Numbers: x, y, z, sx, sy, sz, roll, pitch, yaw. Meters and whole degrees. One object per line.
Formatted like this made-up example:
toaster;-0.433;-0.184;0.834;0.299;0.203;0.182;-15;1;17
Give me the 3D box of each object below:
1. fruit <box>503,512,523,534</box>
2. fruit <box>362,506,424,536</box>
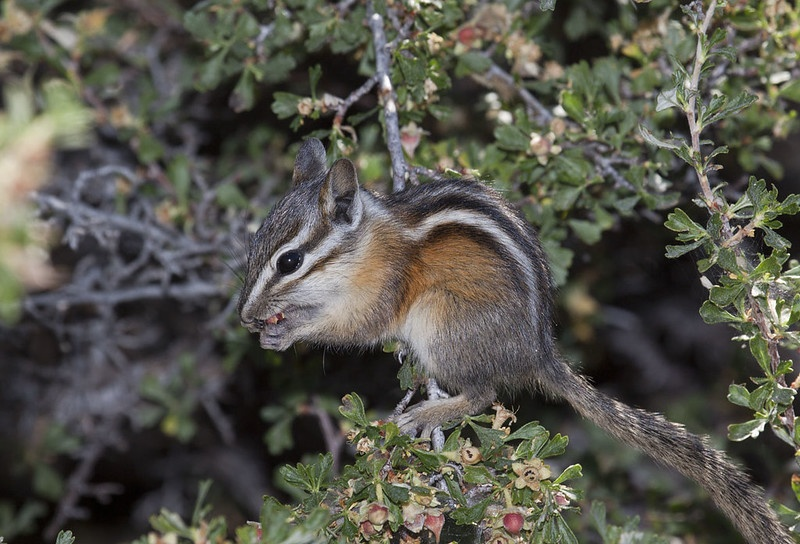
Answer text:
fruit;0.514;1.125;3.653;0.072;0.099;0.057;-15;8;-2
fruit;-0.037;1.112;3.688;0.232;0.113;0.157;-7;37;-13
